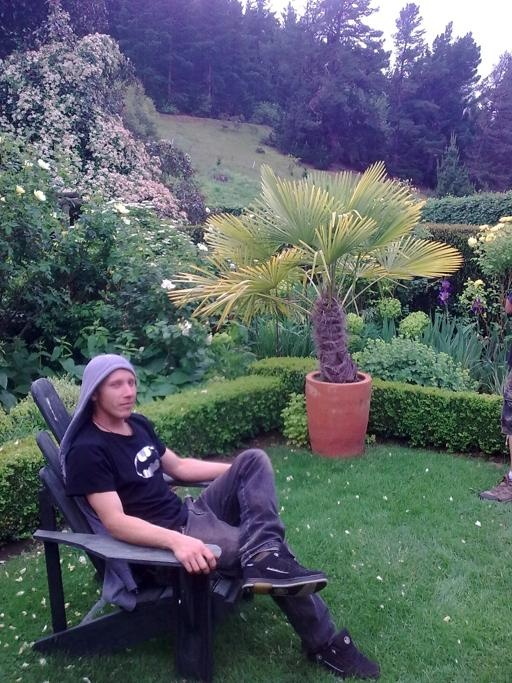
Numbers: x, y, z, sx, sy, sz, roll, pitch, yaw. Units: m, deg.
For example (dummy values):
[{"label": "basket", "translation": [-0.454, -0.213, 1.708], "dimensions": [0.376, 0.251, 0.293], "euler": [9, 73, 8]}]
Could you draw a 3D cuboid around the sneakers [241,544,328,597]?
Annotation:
[{"label": "sneakers", "translation": [0.085, 0.759, 1.874], "dimensions": [0.330, 0.168, 0.123], "euler": [0, -15, 11]}]

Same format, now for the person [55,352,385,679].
[{"label": "person", "translation": [-0.148, 0.578, 2.614], "dimensions": [1.244, 1.511, 0.941], "euler": [-12, 8, 19]}]

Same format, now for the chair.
[{"label": "chair", "translation": [-0.345, 0.747, 2.369], "dimensions": [0.915, 1.149, 0.839], "euler": [0, 1, 1]}]

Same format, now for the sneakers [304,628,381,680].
[{"label": "sneakers", "translation": [0.314, 1.102, 2.054], "dimensions": [0.286, 0.138, 0.106], "euler": [4, 1, 27]}]
